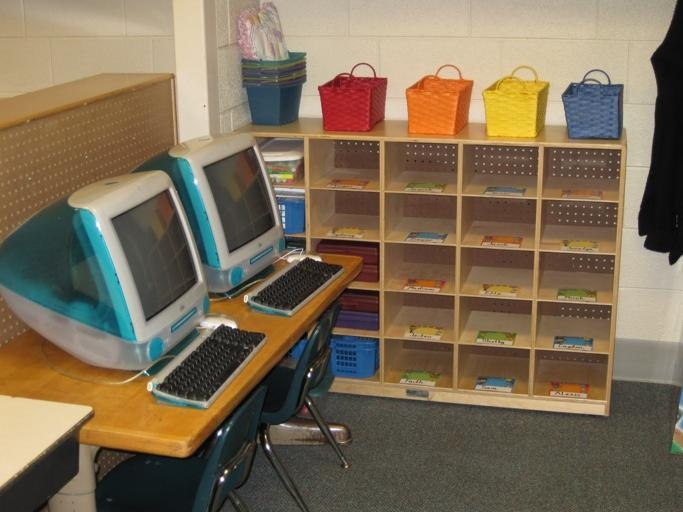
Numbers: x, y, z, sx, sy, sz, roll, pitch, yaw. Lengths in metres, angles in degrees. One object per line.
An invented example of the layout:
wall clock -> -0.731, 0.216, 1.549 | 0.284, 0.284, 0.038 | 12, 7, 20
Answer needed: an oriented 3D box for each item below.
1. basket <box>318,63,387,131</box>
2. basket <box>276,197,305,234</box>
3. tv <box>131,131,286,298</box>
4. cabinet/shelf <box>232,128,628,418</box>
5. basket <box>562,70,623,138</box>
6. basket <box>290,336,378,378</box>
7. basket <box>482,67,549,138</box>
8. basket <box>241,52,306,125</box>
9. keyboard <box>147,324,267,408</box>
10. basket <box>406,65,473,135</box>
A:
basket -> 0.078, -0.975, 3.590 | 0.325, 0.338, 0.478 | 5, 23, 15
basket -> -0.272, -0.221, 3.567 | 0.154, 0.226, 0.147 | 8, -23, -20
tv -> -0.620, -0.227, 2.707 | 0.619, 0.624, 0.578 | 4, 25, 15
cabinet/shelf -> 0.505, 0.083, 3.619 | 2.108, 1.590, 0.592 | 2, 13, 13
basket -> 1.345, -0.834, 3.216 | 0.324, 0.372, 0.238 | 2, 1, -7
basket -> 0.041, 0.614, 3.866 | 0.356, 0.236, 0.473 | 2, 4, 3
basket -> 0.980, -0.871, 3.362 | 0.292, 0.317, 0.426 | 5, 21, 19
basket -> -0.390, -1.030, 3.635 | 0.422, 0.398, 0.272 | -9, 25, -16
keyboard -> -0.466, 0.378, 2.104 | 0.239, 0.076, 0.464 | 4, 22, 16
basket -> 0.601, -0.950, 3.467 | 0.354, 0.357, 0.488 | 5, 27, 16
